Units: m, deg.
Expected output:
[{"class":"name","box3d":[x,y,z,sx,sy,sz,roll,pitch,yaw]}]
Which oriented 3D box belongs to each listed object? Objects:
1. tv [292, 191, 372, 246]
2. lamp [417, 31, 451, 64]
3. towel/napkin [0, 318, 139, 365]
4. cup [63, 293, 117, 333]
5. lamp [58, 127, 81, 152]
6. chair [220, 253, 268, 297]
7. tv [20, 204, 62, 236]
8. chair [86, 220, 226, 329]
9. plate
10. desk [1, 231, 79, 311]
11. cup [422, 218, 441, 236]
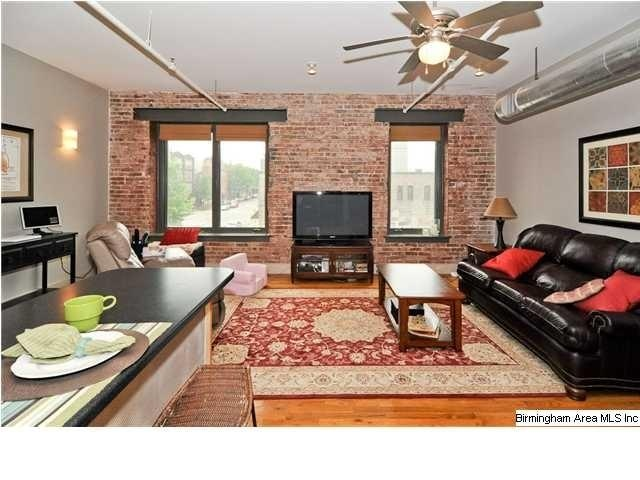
[{"class":"tv","box3d":[0.157,-0.343,6.303,1.001,0.530,0.101,0,4,-1]},{"class":"lamp","box3d":[0.770,-1.311,2.989,0.200,0.160,0.189,2,8,6]},{"class":"towel/napkin","box3d":[-1.040,0.434,1.838,0.370,0.071,0.217,7,2,-28]},{"class":"cup","box3d":[-1.057,0.350,2.054,0.165,0.116,0.228,-7,-9,40]},{"class":"lamp","box3d":[-3.195,-1.311,5.641,0.131,0.332,0.325,1,8,-2]},{"class":"chair","box3d":[-0.900,0.429,5.485,0.617,0.456,0.746,1,6,8]},{"class":"tv","box3d":[-3.207,-0.237,4.984,0.231,0.288,0.431,1,3,12]},{"class":"chair","box3d":[-1.750,0.306,4.487,1.513,0.956,1.068,0,0,-12]},{"class":"plate","box3d":[-1.042,0.485,1.845,0.426,0.134,0.200,-4,9,-34]},{"class":"desk","box3d":[-2.758,0.267,4.239,0.366,0.492,0.921,0,4,-6]},{"class":"cup","box3d":[1.704,-0.183,6.697,0.347,0.275,0.175,0,3,13]}]
